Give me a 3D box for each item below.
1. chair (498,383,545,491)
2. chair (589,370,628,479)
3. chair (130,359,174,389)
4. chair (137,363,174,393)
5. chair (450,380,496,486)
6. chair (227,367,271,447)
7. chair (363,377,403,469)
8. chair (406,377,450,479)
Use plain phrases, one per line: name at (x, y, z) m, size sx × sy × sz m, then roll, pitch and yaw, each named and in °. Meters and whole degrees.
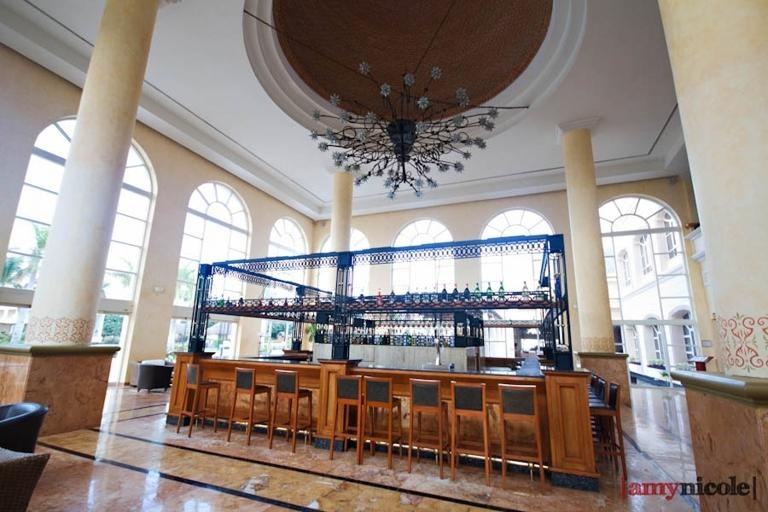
chair at (2.093, 2.594, 6.600) m, size 0.665 × 1.450 × 1.037 m, roll 2°, pitch 3°, yaw 21°
chair at (3.788, 2.886, 7.357) m, size 0.572 × 1.079 × 1.793 m, roll -3°, pitch -14°, yaw 20°
chair at (-6.106, 3.096, 11.302) m, size 0.864 × 0.795 × 0.900 m, roll -5°, pitch -7°, yaw 30°
chair at (-5.994, 3.039, 11.346) m, size 0.786 × 0.839 × 0.792 m, roll -5°, pitch -7°, yaw 26°
chair at (1.366, 2.598, 6.799) m, size 0.635 × 1.429 × 1.016 m, roll 2°, pitch 3°, yaw 14°
chair at (-2.432, 2.607, 7.756) m, size 0.728 × 1.281 × 0.654 m, roll 2°, pitch 3°, yaw 5°
chair at (-0.033, 2.599, 7.206) m, size 0.652 × 1.360 × 1.233 m, roll 1°, pitch 3°, yaw -1°
chair at (0.710, 2.605, 6.997) m, size 0.606 × 1.417 × 1.155 m, roll 2°, pitch 3°, yaw 7°
